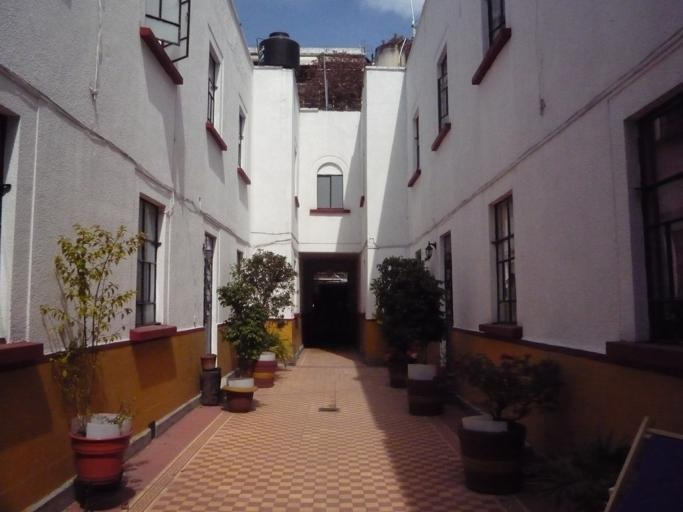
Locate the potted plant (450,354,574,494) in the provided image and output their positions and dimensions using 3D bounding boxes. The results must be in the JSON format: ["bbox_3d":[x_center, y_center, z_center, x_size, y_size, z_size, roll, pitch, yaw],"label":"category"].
[{"bbox_3d":[1.465,1.606,5.585,1.101,1.527,1.015,7,-19,-16],"label":"potted plant"}]

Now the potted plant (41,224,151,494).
[{"bbox_3d":[-2.278,0.925,5.276,0.665,2.473,1.297,0,-2,-8],"label":"potted plant"}]

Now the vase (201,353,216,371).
[{"bbox_3d":[-2.057,1.629,8.702,0.164,0.176,0.212,-1,-8,1],"label":"vase"}]

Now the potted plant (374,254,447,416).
[{"bbox_3d":[1.102,1.144,9.185,1.104,2.367,2.630,0,-2,2],"label":"potted plant"}]
